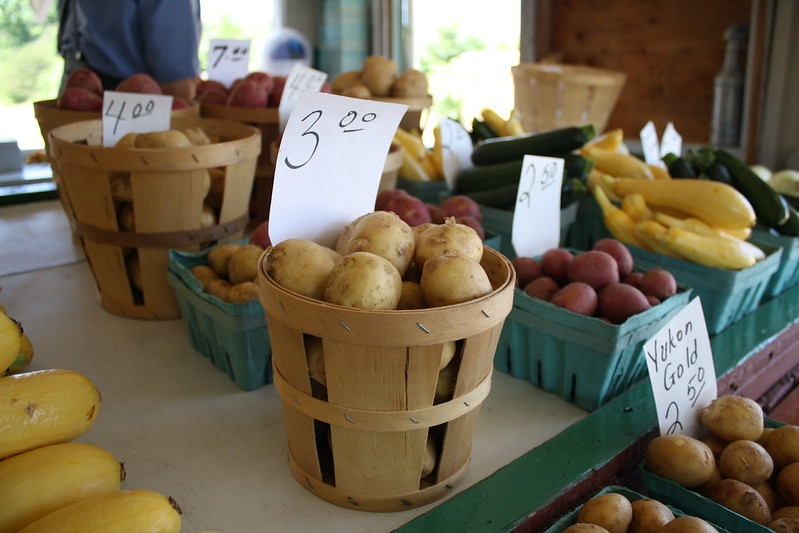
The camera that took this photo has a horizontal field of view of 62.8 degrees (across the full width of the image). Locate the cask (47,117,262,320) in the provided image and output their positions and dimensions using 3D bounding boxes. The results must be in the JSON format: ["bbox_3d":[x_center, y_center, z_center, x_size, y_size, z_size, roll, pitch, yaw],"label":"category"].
[{"bbox_3d":[-0.702,-0.188,2.092,0.613,0.505,0.581,9,16,18],"label":"cask"}]

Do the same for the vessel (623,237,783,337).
[{"bbox_3d":[0.950,0.057,2.075,0.374,0.154,0.275,23,18,40],"label":"vessel"}]

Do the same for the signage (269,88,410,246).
[{"bbox_3d":[-0.164,-0.250,1.656,0.364,0.382,0.063,-15,29,-33],"label":"signage"}]

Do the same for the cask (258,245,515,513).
[{"bbox_3d":[-0.050,0.315,1.621,0.557,0.447,0.493,-2,4,-36],"label":"cask"}]

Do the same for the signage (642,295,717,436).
[{"bbox_3d":[0.717,0.267,1.692,0.233,0.323,0.015,-32,21,-26],"label":"signage"}]

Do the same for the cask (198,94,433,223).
[{"bbox_3d":[-0.354,-0.529,2.649,0.748,0.493,0.732,19,27,27],"label":"cask"}]

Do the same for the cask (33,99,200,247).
[{"bbox_3d":[-1.025,-0.363,2.276,0.471,0.374,0.451,10,18,20],"label":"cask"}]

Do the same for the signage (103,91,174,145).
[{"bbox_3d":[-0.806,-0.452,2.006,0.215,0.219,0.025,-2,29,-31],"label":"signage"}]

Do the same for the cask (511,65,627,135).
[{"bbox_3d":[0.828,-0.882,3.481,0.593,0.399,0.601,14,22,25],"label":"cask"}]

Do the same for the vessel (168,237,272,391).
[{"bbox_3d":[-0.457,0.099,1.831,0.379,0.276,0.271,22,29,34],"label":"vessel"}]

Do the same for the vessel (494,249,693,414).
[{"bbox_3d":[0.527,0.153,1.808,0.328,0.218,0.415,26,31,34],"label":"vessel"}]
